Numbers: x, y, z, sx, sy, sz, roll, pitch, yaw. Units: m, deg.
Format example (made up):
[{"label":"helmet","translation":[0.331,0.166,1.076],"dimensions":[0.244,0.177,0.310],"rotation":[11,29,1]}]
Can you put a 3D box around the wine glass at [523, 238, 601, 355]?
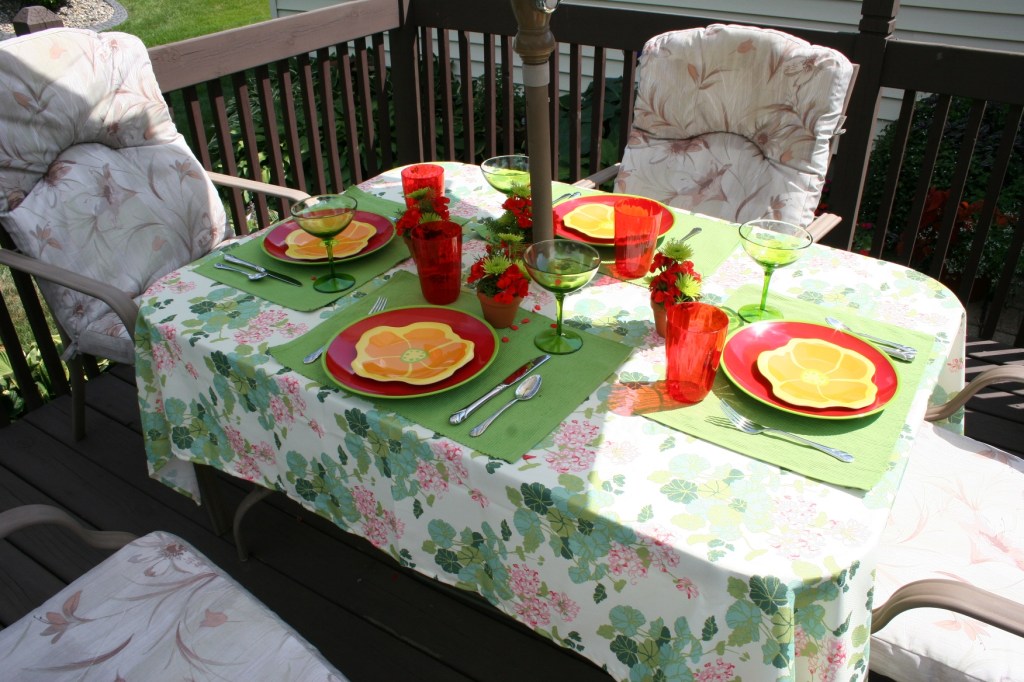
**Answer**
[{"label":"wine glass","translation":[0.113,-0.099,1.615],"dimensions":[0.186,0.236,0.186],"rotation":[-7,42,-10]}]

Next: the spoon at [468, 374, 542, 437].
[{"label":"spoon","translation":[0.003,0.129,1.472],"dimensions":[0.061,0.046,0.265],"rotation":[20,46,27]}]

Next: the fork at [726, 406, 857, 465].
[{"label":"fork","translation":[0.570,0.197,1.388],"dimensions":[0.173,0.026,0.024],"rotation":[28,58,12]}]

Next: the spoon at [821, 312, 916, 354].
[{"label":"spoon","translation":[0.829,-0.015,1.602],"dimensions":[0.141,0.022,0.031],"rotation":[29,43,25]}]

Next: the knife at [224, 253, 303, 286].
[{"label":"knife","translation":[-0.666,-0.190,1.842],"dimensions":[0.161,0.015,0.037],"rotation":[25,40,24]}]

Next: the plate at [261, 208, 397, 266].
[{"label":"plate","translation":[-0.496,-0.285,1.937],"dimensions":[0.229,0.039,0.227],"rotation":[14,30,19]}]

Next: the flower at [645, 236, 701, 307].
[{"label":"flower","translation":[0.353,-0.148,1.619],"dimensions":[0.139,0.147,0.133],"rotation":[12,40,20]}]

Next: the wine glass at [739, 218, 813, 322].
[{"label":"wine glass","translation":[0.657,-0.169,1.716],"dimensions":[0.184,0.227,0.189],"rotation":[5,40,9]}]

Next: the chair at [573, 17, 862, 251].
[{"label":"chair","translation":[0.769,-0.741,2.549],"dimensions":[0.658,0.906,0.847],"rotation":[21,72,13]}]

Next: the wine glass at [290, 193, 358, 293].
[{"label":"wine glass","translation":[-0.503,-0.254,1.833],"dimensions":[0.167,0.212,0.161],"rotation":[-29,49,-35]}]

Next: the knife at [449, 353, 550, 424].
[{"label":"knife","translation":[-0.033,0.110,1.484],"dimensions":[0.037,0.021,0.258],"rotation":[30,42,28]}]
